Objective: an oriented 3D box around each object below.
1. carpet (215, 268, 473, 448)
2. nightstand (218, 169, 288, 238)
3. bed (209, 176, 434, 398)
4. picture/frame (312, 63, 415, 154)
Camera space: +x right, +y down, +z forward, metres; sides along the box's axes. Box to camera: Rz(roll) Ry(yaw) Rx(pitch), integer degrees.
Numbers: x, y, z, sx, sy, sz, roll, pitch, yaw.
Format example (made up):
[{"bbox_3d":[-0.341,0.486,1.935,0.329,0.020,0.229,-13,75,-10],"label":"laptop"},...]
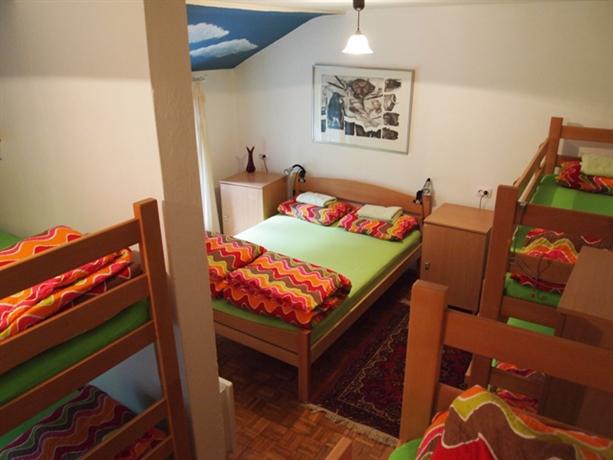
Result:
[{"bbox_3d":[0.128,0.896,3.001,0.987,0.009,1.171,11,27,23],"label":"carpet"},{"bbox_3d":[-0.619,-0.300,5.198,0.470,0.704,0.417,19,38,25],"label":"nightstand"},{"bbox_3d":[0.245,0.319,4.095,1.526,0.803,2.089,17,38,26],"label":"bed"},{"bbox_3d":[0.666,-1.364,4.806,0.922,0.743,0.034,13,27,27],"label":"picture/frame"}]
